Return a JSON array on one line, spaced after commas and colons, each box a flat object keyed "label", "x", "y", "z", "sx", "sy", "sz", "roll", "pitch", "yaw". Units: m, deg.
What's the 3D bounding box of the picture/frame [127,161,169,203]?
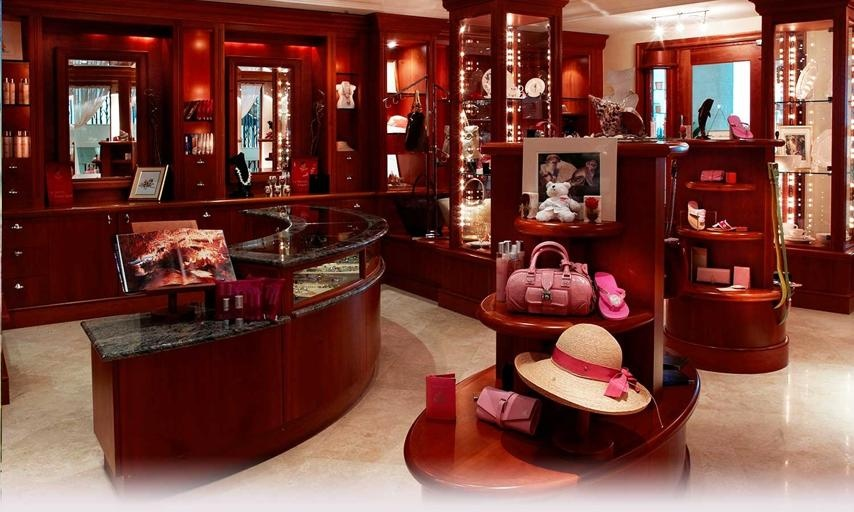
[{"label": "picture/frame", "x": -3.520, "y": -0.911, "z": 7.302, "sx": 0.606, "sy": 0.608, "sz": 0.060, "roll": 4, "pitch": -26, "yaw": -2}]

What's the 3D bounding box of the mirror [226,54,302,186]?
[{"label": "mirror", "x": -2.253, "y": -1.845, "z": 8.136, "sx": 1.034, "sy": 1.708, "sz": 0.248, "roll": -6, "pitch": 12, "yaw": -12}]

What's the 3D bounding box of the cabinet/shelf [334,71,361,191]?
[{"label": "cabinet/shelf", "x": -1.195, "y": -1.742, "z": 8.288, "sx": 0.448, "sy": 1.599, "sz": 0.407, "roll": -7, "pitch": 21, "yaw": -30}]

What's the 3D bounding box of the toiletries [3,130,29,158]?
[{"label": "toiletries", "x": -4.538, "y": -1.212, "z": 6.519, "sx": 0.300, "sy": 0.356, "sz": 0.385, "roll": -2, "pitch": 4, "yaw": -31}]

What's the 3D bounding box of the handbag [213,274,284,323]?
[{"label": "handbag", "x": -1.245, "y": 0.305, "z": 4.084, "sx": 0.471, "sy": 0.307, "sz": 0.132, "roll": -7, "pitch": 12, "yaw": -18}]

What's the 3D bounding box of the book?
[{"label": "book", "x": -1.736, "y": 0.020, "z": 3.966, "sx": 0.775, "sy": 0.442, "sz": 0.165, "roll": -8, "pitch": -12, "yaw": -28}]

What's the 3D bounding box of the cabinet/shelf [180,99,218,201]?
[{"label": "cabinet/shelf", "x": -2.921, "y": -1.336, "z": 7.427, "sx": 0.492, "sy": 1.212, "sz": 0.210, "roll": -7, "pitch": 12, "yaw": -16}]

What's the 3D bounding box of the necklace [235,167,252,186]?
[{"label": "necklace", "x": -2.460, "y": -1.039, "z": 7.777, "sx": 0.233, "sy": 0.209, "sz": 0.108, "roll": -3, "pitch": 8, "yaw": 1}]

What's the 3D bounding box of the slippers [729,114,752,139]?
[{"label": "slippers", "x": 2.988, "y": -1.227, "z": 5.614, "sx": 0.192, "sy": 0.205, "sz": 0.183, "roll": 2, "pitch": 13, "yaw": 23}]

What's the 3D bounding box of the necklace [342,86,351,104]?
[{"label": "necklace", "x": -1.121, "y": -2.266, "z": 8.302, "sx": 0.126, "sy": 0.265, "sz": 0.059, "roll": -12, "pitch": 15, "yaw": -36}]

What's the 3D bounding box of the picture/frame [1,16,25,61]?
[{"label": "picture/frame", "x": -4.643, "y": -2.393, "z": 6.542, "sx": 0.223, "sy": 0.450, "sz": 0.189, "roll": -11, "pitch": 14, "yaw": -31}]

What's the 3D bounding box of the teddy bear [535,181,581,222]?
[{"label": "teddy bear", "x": 0.779, "y": -0.320, "z": 3.518, "sx": 0.265, "sy": 0.230, "sz": 0.205, "roll": 4, "pitch": 15, "yaw": 38}]

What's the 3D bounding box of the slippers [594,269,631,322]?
[{"label": "slippers", "x": 1.075, "y": 0.221, "z": 3.442, "sx": 0.170, "sy": 0.090, "sz": 0.429, "roll": 1, "pitch": 31, "yaw": 4}]

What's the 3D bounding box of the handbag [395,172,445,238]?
[{"label": "handbag", "x": -0.095, "y": -0.724, "z": 8.056, "sx": 0.848, "sy": 0.878, "sz": 0.527, "roll": -5, "pitch": 29, "yaw": -27}]

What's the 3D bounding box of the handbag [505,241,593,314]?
[{"label": "handbag", "x": 0.700, "y": 0.138, "z": 3.381, "sx": 0.513, "sy": 0.377, "sz": 0.265, "roll": 2, "pitch": 14, "yaw": 16}]

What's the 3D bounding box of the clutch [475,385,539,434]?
[{"label": "clutch", "x": 0.450, "y": 0.877, "z": 3.324, "sx": 0.355, "sy": 0.201, "sz": 0.154, "roll": 4, "pitch": -4, "yaw": 42}]

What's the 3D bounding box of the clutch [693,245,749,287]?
[{"label": "clutch", "x": 2.881, "y": 0.103, "z": 5.870, "sx": 0.665, "sy": 0.318, "sz": 0.426, "roll": 6, "pitch": 2, "yaw": 15}]

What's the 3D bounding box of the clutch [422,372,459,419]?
[{"label": "clutch", "x": 0.097, "y": 0.804, "z": 3.395, "sx": 0.229, "sy": 0.222, "sz": 0.232, "roll": 10, "pitch": -15, "yaw": -39}]

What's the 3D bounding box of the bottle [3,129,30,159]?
[{"label": "bottle", "x": -4.532, "y": -1.202, "z": 6.544, "sx": 0.305, "sy": 0.371, "sz": 0.405, "roll": -2, "pitch": 4, "yaw": -28}]
